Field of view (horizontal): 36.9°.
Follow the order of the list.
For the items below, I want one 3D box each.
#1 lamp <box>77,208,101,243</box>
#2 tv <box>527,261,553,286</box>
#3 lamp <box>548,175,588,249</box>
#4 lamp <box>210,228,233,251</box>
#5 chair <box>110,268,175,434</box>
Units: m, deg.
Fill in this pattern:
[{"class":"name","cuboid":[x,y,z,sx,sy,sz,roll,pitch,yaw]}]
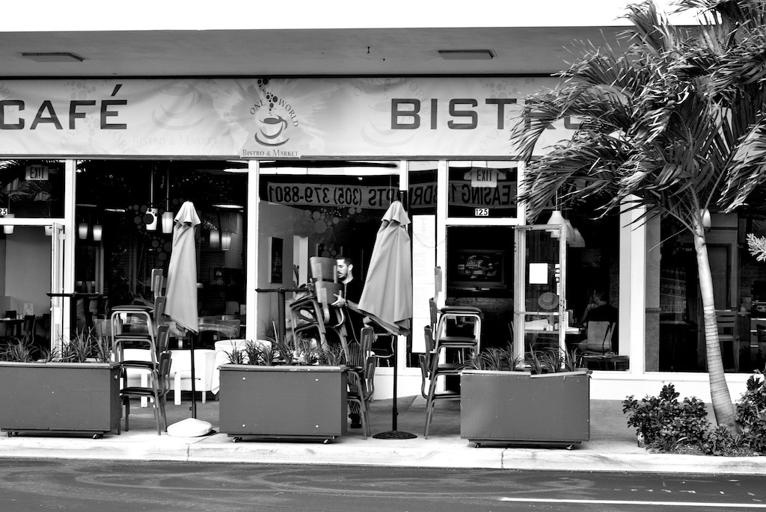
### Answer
[{"class":"lamp","cuboid":[-5.053,-0.522,19.712,0.546,0.739,0.190,-2,-9,8]},{"class":"tv","cuboid":[2.553,0.264,18.656,0.369,0.343,0.083,-2,-7,8]},{"class":"lamp","cuboid":[2.938,-0.637,18.859,0.571,0.912,0.751,-5,-8,28]},{"class":"lamp","cuboid":[-2.782,-0.290,19.634,0.307,0.387,0.557,1,0,-12]},{"class":"chair","cuboid":[-3.562,1.474,16.995,1.022,2.855,2.018,1,-5,-2]}]
